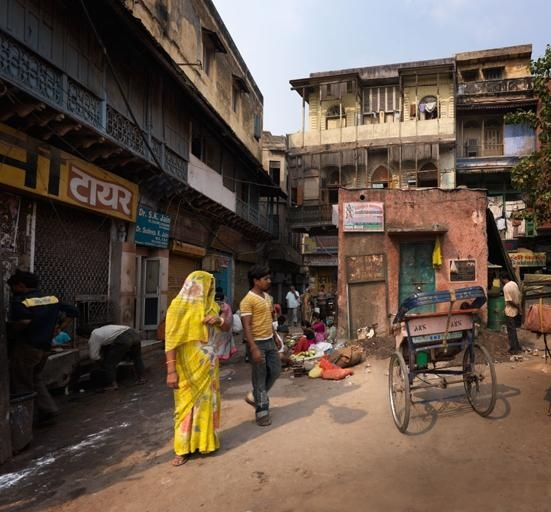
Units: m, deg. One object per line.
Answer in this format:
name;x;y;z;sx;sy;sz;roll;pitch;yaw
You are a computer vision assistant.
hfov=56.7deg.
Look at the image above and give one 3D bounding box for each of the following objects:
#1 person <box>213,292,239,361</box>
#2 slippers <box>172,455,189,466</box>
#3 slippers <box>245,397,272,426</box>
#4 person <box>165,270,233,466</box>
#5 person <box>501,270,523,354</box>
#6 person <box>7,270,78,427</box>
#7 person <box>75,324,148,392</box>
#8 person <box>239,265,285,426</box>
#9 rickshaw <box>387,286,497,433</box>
person;-0.983;1.477;10.014;0.609;1.855;0.697;1;2;-13
slippers;-0.982;2.095;5.155;0.066;0.059;0.196;3;-10;17
slippers;-0.196;1.921;6.356;0.181;0.269;0.634;-3;2;-15
person;-0.823;1.150;5.383;0.503;2.049;0.629;5;8;35
person;4.804;1.260;10.379;0.550;1.507;0.624;-2;1;20
person;-3.131;1.039;6.683;0.609;2.250;0.694;0;0;18
person;-2.813;1.667;8.910;0.838;1.083;0.812;2;3;12
person;-0.177;1.106;6.249;0.356;1.979;0.513;2;6;32
rickshaw;1.967;1.174;6.616;1.107;1.677;1.889;-1;-3;-7
